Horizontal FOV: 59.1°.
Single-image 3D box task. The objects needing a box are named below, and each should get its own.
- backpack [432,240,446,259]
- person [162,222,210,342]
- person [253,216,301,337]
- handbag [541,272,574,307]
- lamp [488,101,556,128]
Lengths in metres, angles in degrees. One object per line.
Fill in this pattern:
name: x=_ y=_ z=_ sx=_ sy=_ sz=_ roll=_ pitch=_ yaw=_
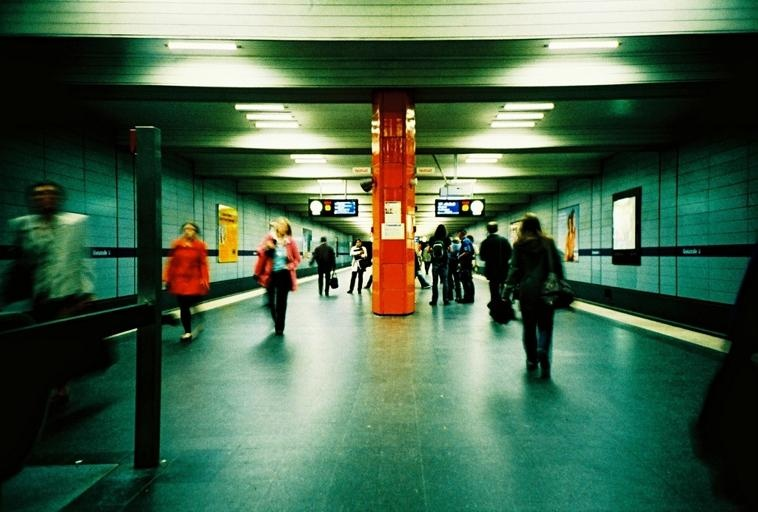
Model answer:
backpack: x=1.423 y=-0.157 z=15.771 sx=0.312 sy=0.396 sz=0.426 roll=1 pitch=-7 yaw=4
person: x=-3.329 y=0.436 z=11.611 sx=0.713 sy=2.030 sz=0.481 roll=-1 pitch=3 yaw=-19
person: x=-1.843 y=0.357 z=12.178 sx=0.790 sy=2.091 sz=0.821 roll=-1 pitch=3 yaw=-11
handbag: x=2.602 y=0.559 z=9.885 sx=0.550 sy=0.521 sz=0.341 roll=3 pitch=-17 yaw=-35
lamp: x=3.077 y=-3.034 z=14.400 sx=1.204 sy=0.278 sz=1.846 roll=0 pitch=3 yaw=4
